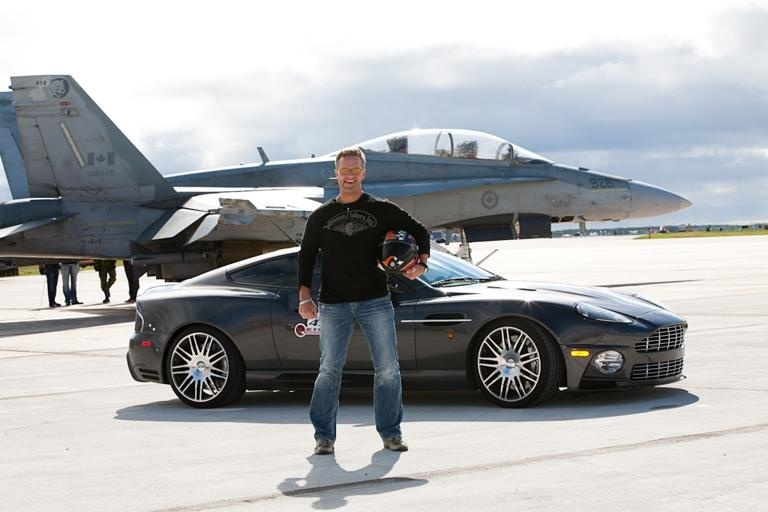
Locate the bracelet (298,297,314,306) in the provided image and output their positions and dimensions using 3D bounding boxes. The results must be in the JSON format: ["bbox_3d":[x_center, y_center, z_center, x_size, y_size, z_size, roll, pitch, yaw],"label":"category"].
[{"bbox_3d":[-0.661,0.391,6.208,0.089,0.052,0.144,0,4,25],"label":"bracelet"}]

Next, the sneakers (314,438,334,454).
[{"bbox_3d":[-0.521,1.628,6.152,0.176,0.126,0.153,-3,5,-4],"label":"sneakers"}]

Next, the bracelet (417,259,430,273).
[{"bbox_3d":[0.345,0.083,6.191,0.123,0.100,0.062,-1,5,15],"label":"bracelet"}]

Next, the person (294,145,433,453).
[{"bbox_3d":[-0.175,0.373,6.233,1.140,2.606,0.618,-5,7,-2],"label":"person"}]
